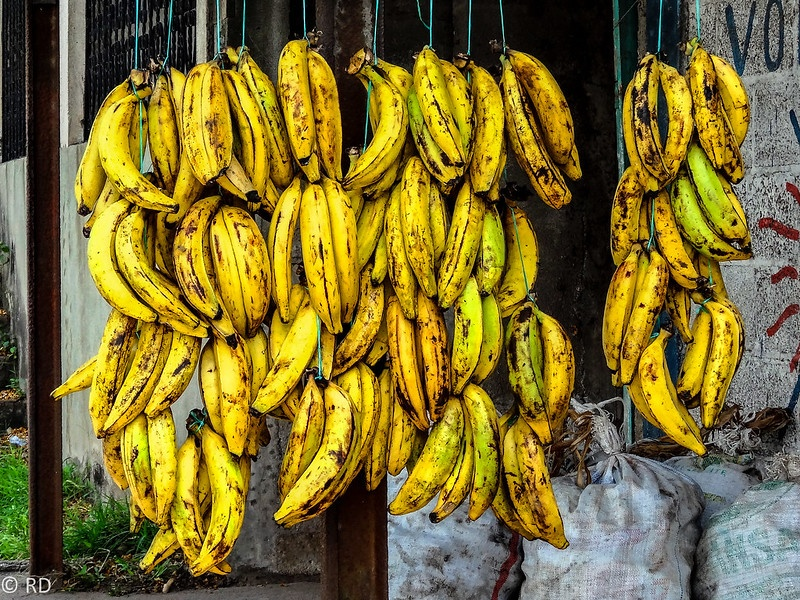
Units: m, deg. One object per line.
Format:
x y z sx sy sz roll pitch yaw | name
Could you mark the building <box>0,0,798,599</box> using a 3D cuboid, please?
-0.065 -0.063 2.996 2.087 1.813 0.625 -5 5 -16 | building
